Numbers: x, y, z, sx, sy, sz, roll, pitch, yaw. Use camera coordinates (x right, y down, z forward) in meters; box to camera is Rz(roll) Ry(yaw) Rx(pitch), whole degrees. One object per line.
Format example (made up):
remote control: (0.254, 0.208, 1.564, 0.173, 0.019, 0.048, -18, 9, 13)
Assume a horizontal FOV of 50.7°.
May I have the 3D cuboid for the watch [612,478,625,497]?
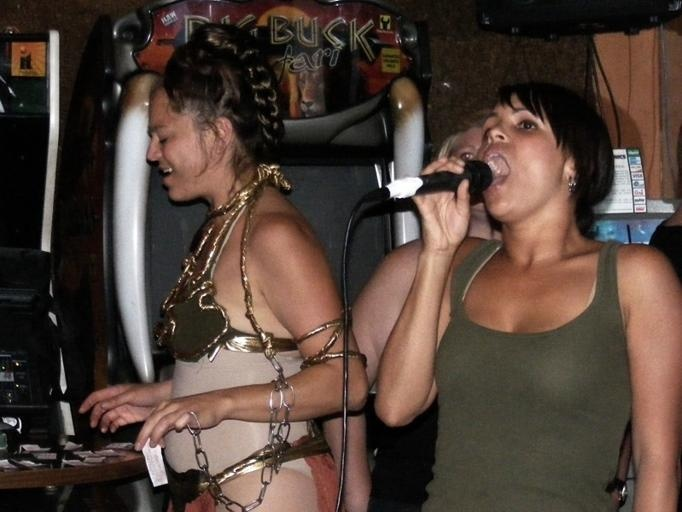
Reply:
watch: (0.534, 0.446, 1.381, 0.014, 0.041, 0.018, -2, -4, 7)
